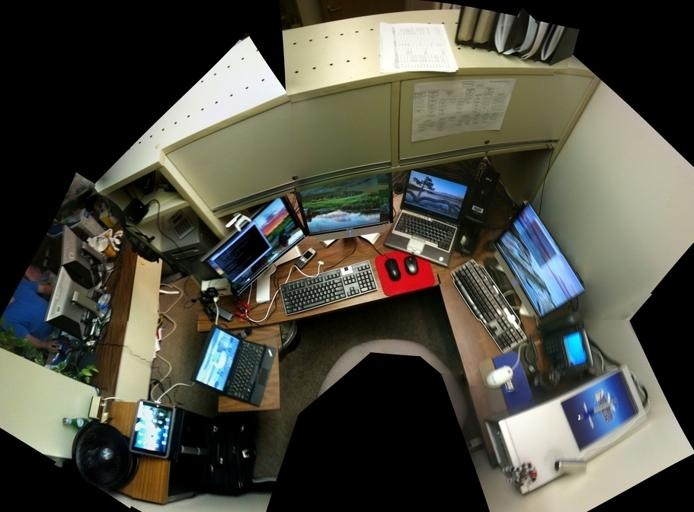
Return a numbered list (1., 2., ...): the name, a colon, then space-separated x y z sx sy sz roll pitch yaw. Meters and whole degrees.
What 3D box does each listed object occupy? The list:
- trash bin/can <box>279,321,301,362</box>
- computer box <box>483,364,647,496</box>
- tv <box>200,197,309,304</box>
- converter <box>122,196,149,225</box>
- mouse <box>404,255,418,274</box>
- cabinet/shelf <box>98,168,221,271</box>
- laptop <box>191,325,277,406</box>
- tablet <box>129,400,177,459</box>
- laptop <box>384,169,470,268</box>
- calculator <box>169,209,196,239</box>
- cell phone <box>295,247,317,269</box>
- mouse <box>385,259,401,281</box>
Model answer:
1. trash bin/can: -0.380 0.564 3.259 0.176 0.207 0.240 -7 65 13
2. computer box: 1.007 0.783 2.352 0.726 0.291 0.423 -29 73 9
3. tv: -0.506 -0.030 2.579 0.201 0.402 0.563 45 75 7
4. converter: -0.982 -0.209 2.305 0.102 0.071 0.113 17 70 14
5. mouse: 0.359 0.053 2.766 0.077 0.031 0.110 -8 67 4
6. cabinet/shelf: -0.892 -0.190 2.355 0.197 0.393 0.216 -38 72 1
7. laptop: -0.575 0.572 2.582 0.351 0.265 0.408 12 81 4
8. tablet: -0.905 0.812 2.301 0.150 0.129 0.238 1 68 8
9. laptop: 0.436 -0.235 2.771 0.384 0.264 0.417 14 70 13
10. calculator: -0.824 -0.164 2.465 0.124 0.030 0.142 -20 92 12
11. cell phone: -0.240 0.014 2.826 0.065 0.029 0.151 34 77 6
12. mouse: 0.255 0.075 2.746 0.061 0.036 0.123 -20 76 -1
